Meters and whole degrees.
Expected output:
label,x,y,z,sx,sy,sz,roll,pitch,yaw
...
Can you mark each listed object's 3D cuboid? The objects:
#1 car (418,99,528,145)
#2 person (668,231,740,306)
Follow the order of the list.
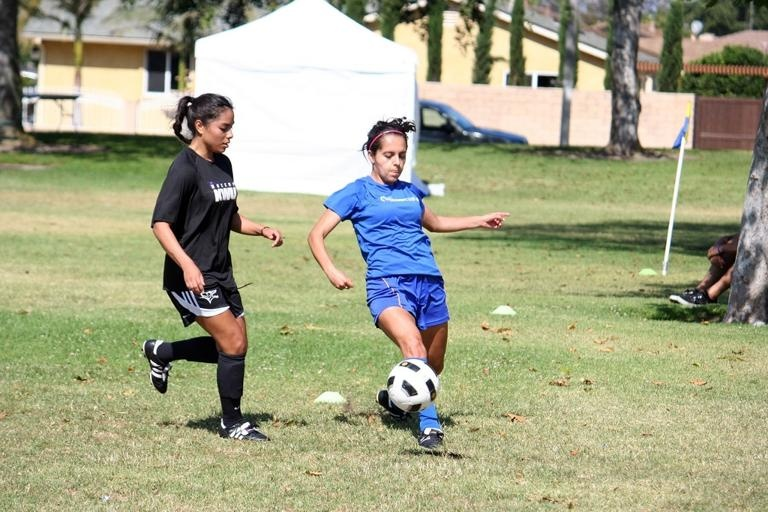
label,x,y,z,sx,sy,sz,roll,pitch,yaw
car,2.387,-3.842,39.567,3.117,1.288,2.350,2,5,8
person,5.348,0.222,23.316,0.949,1.318,0.832,-1,-2,-11
